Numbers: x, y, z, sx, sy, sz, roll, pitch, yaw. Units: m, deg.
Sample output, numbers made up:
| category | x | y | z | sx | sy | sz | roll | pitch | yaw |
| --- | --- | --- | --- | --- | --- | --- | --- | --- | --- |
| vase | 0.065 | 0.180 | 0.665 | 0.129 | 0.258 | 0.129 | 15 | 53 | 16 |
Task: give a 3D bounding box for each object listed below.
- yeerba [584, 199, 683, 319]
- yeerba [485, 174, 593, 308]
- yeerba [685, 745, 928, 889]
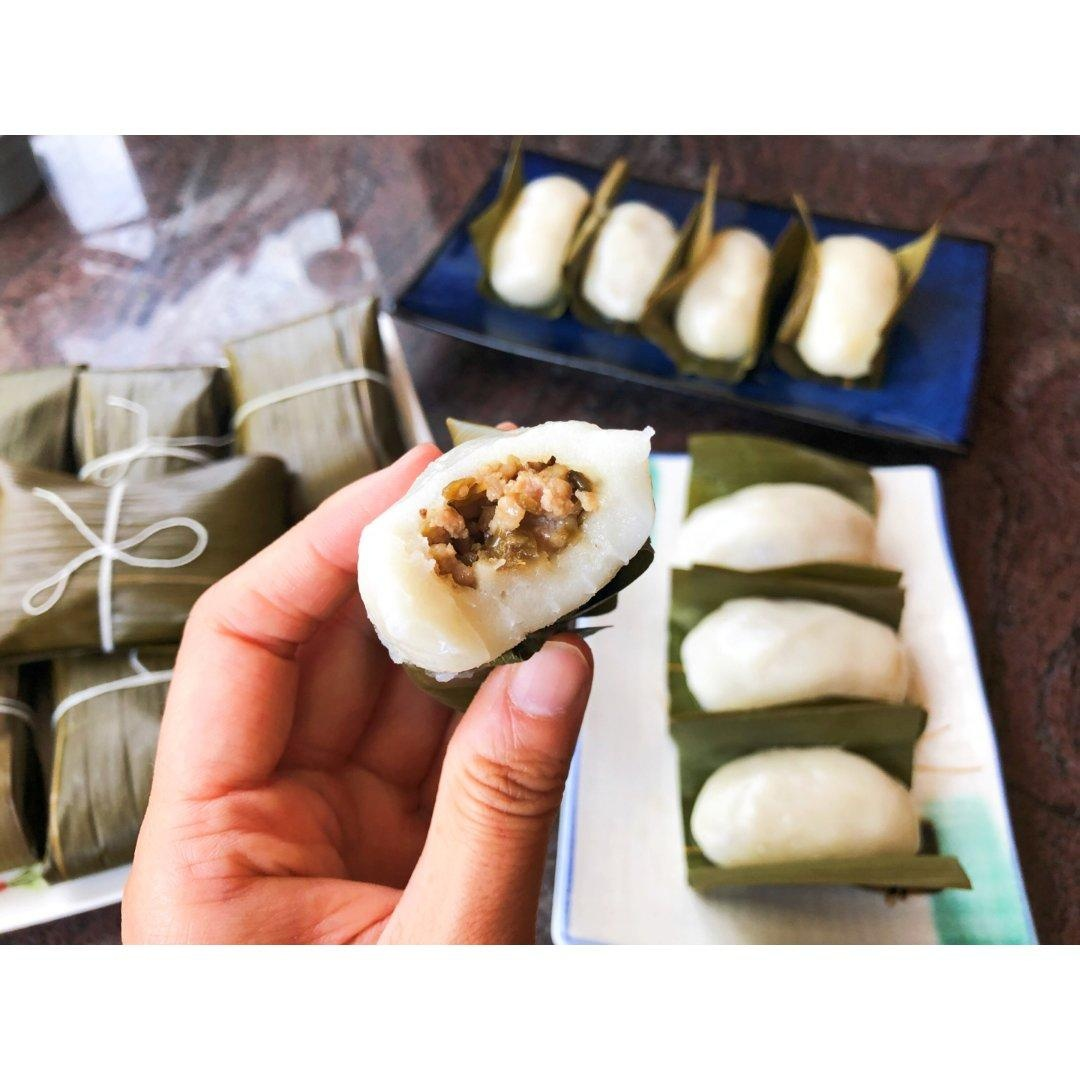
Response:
| category | x | y | z | sx | sy | sz | roll | pitch | yaw |
| --- | --- | --- | --- | --- | --- | --- | --- | --- | --- |
| yeerba | 0.155 | -0.506 | 1.995 | 0.179 | 0.105 | 0.217 | 31 | 85 | 5 |
| yeerba | -0.008 | -0.552 | 2.005 | 0.154 | 0.127 | 0.257 | 24 | 72 | 8 |
| yeerba | 0.399 | 0.411 | 1.602 | 0.330 | 0.102 | 0.159 | -4 | 61 | 3 |
